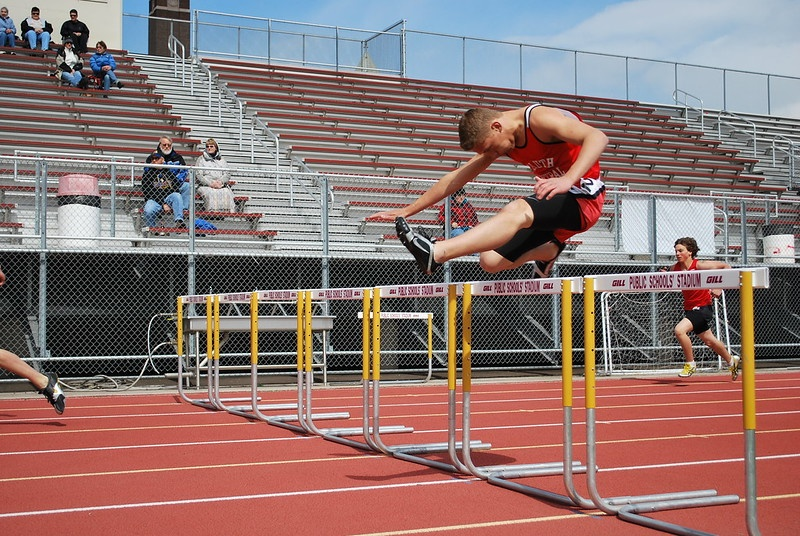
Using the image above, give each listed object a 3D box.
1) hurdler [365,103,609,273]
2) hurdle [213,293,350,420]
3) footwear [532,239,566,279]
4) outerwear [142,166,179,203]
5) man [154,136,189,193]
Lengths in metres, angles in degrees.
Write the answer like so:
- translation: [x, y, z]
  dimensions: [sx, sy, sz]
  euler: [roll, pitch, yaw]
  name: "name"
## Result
- translation: [0.920, -0.683, 8.910]
  dimensions: [2.318, 1.625, 1.543]
  euler: [-6, 2, -18]
  name: "hurdler"
- translation: [-1.619, 1.095, 12.562]
  dimensions: [1.056, 1.311, 3.277]
  euler: [-23, -7, 15]
  name: "hurdle"
- translation: [1.623, -0.087, 10.238]
  dimensions: [0.197, 0.445, 0.154]
  euler: [27, 3, -11]
  name: "footwear"
- translation: [-3.635, -1.251, 14.268]
  dimensions: [0.563, 0.520, 0.148]
  euler: [5, 2, -3]
  name: "outerwear"
- translation: [-3.736, -1.536, 15.384]
  dimensions: [0.509, 1.128, 0.404]
  euler: [-8, 8, -18]
  name: "man"
